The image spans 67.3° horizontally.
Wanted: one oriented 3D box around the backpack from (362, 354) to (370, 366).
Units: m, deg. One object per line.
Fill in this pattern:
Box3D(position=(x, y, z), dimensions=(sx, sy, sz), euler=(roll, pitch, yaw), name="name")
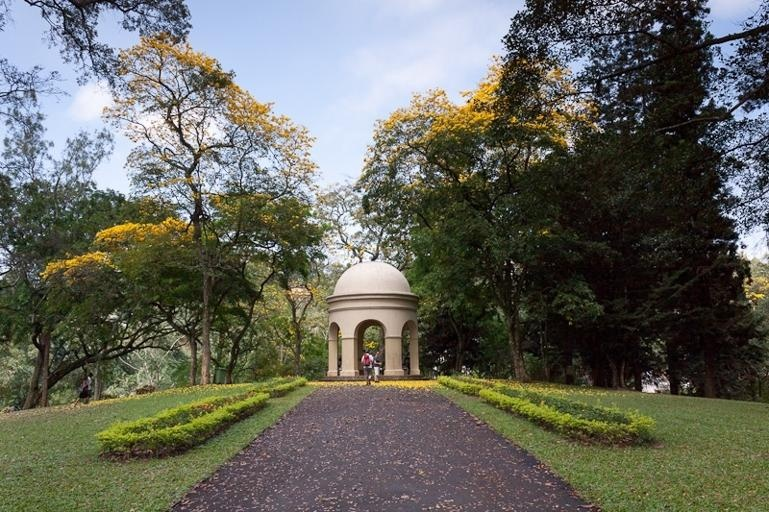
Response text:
Box3D(position=(-0.785, 4.608, 25.929), dimensions=(0.285, 0.533, 0.358), euler=(-2, 5, -14), name="backpack")
